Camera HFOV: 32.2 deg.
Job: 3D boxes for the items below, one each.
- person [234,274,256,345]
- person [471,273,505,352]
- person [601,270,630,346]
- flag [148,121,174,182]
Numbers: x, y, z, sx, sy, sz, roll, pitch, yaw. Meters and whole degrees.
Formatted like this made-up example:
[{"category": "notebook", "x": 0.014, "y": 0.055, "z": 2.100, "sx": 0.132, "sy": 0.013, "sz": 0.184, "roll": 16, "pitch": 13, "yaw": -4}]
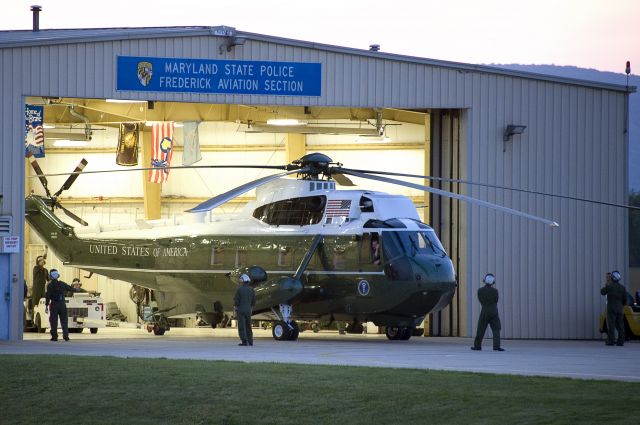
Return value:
[{"category": "person", "x": -2.519, "y": 3.365, "z": 38.385, "sx": 0.922, "sy": 2.137, "sz": 0.783, "roll": 3, "pitch": 0, "yaw": -12}, {"category": "person", "x": 5.811, "y": 3.403, "z": 38.254, "sx": 1.268, "sy": 2.474, "sz": 0.971, "roll": 0, "pitch": -2, "yaw": -23}, {"category": "person", "x": 10.891, "y": 3.477, "z": 40.762, "sx": 1.054, "sy": 2.724, "sz": 0.975, "roll": -1, "pitch": -2, "yaw": -13}, {"category": "flag", "x": -6.871, "y": -2.616, "z": 48.600, "sx": 1.222, "sy": 2.827, "sz": 0.128, "roll": -1, "pitch": -8, "yaw": 29}]
